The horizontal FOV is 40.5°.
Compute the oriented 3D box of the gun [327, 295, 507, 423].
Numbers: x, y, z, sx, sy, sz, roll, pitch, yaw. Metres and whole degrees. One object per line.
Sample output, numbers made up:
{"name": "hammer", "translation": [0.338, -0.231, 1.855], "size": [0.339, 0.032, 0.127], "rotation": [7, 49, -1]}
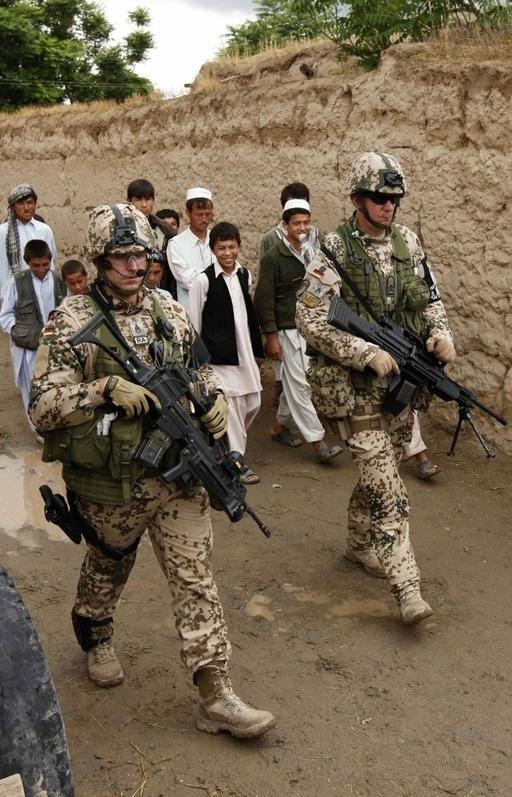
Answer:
{"name": "gun", "translation": [0.770, -0.211, 3.426], "size": [0.884, 0.568, 0.256], "rotation": [-5, 11, -29]}

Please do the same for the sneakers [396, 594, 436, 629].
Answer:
{"name": "sneakers", "translation": [0.718, 0.957, 3.118], "size": [0.111, 0.121, 0.258], "rotation": [-32, -14, -6]}

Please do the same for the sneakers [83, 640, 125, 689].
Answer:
{"name": "sneakers", "translation": [-0.610, 1.065, 2.774], "size": [0.093, 0.093, 0.225], "rotation": [-1, 1, -29]}

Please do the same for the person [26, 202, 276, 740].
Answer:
{"name": "person", "translation": [-0.404, 0.249, 2.566], "size": [0.762, 1.910, 0.745], "rotation": [0, 10, 0]}

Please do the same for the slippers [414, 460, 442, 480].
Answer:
{"name": "slippers", "translation": [1.285, 0.537, 5.167], "size": [0.097, 0.091, 0.205], "rotation": [-10, -3, -15]}

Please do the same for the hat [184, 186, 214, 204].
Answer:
{"name": "hat", "translation": [-0.448, -1.574, 5.361], "size": [0.172, 0.127, 0.254], "rotation": [-1, 9, -10]}

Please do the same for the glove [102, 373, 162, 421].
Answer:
{"name": "glove", "translation": [-0.412, -0.005, 2.316], "size": [0.213, 0.145, 0.142], "rotation": [-5, 11, -27]}

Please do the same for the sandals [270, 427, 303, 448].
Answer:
{"name": "sandals", "translation": [0.269, 0.336, 6.229], "size": [0.135, 0.119, 0.291], "rotation": [-19, 23, -39]}

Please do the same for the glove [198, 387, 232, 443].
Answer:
{"name": "glove", "translation": [-0.177, 0.055, 2.632], "size": [0.077, 0.151, 0.131], "rotation": [-14, -23, 12]}

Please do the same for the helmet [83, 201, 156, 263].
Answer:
{"name": "helmet", "translation": [-0.500, -0.592, 2.492], "size": [0.212, 0.172, 0.225], "rotation": [-10, 1, -24]}

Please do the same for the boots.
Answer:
{"name": "boots", "translation": [-0.079, 1.056, 2.391], "size": [0.281, 0.286, 0.182], "rotation": [0, 10, -1]}

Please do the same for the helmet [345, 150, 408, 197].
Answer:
{"name": "helmet", "translation": [0.577, -1.093, 3.395], "size": [0.218, 0.210, 0.270], "rotation": [-12, 19, -31]}

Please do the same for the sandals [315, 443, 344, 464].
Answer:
{"name": "sandals", "translation": [0.586, 0.453, 5.693], "size": [0.122, 0.124, 0.266], "rotation": [-9, -11, -28]}

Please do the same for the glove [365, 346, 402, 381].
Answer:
{"name": "glove", "translation": [0.608, -0.156, 3.242], "size": [0.053, 0.135, 0.139], "rotation": [-35, 14, 50]}

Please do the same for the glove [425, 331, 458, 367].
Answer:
{"name": "glove", "translation": [0.925, -0.261, 3.523], "size": [0.195, 0.131, 0.171], "rotation": [16, -2, 29]}
